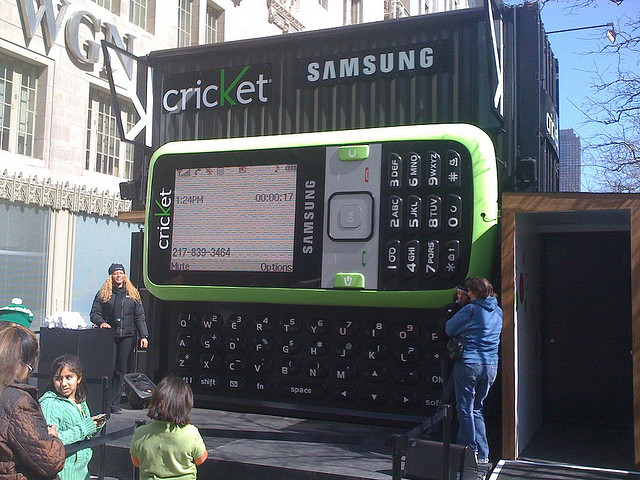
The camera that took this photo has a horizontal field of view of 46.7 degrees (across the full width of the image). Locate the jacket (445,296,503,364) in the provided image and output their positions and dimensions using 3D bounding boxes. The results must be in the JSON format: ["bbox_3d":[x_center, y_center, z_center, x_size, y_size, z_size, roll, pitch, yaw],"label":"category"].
[{"bbox_3d":[1.673,0.929,8.085,0.481,0.770,0.625,7,12,33],"label":"jacket"}]

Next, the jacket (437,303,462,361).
[{"bbox_3d":[1.376,1.016,8.300,0.167,0.542,0.524,11,-6,-7],"label":"jacket"}]

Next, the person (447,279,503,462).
[{"bbox_3d":[1.651,1.389,7.909,0.579,1.930,0.240,-1,-4,7],"label":"person"}]
